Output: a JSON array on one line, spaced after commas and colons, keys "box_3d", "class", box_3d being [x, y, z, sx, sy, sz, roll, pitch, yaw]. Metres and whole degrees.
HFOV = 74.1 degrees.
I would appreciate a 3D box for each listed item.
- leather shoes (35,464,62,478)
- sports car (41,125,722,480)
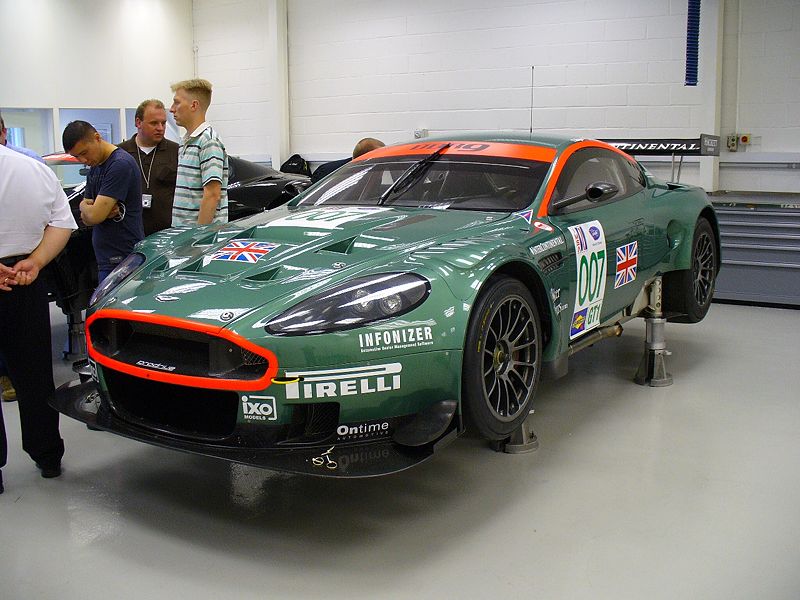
[{"box_3d": [-1.590, 0.786, 2.424, 0.112, 0.049, 0.044, 5, 6, 17], "class": "leather shoes"}, {"box_3d": [0.393, -0.152, 2.780, 1.622, 0.883, 3.024, 4, 10, 38], "class": "sports car"}]
